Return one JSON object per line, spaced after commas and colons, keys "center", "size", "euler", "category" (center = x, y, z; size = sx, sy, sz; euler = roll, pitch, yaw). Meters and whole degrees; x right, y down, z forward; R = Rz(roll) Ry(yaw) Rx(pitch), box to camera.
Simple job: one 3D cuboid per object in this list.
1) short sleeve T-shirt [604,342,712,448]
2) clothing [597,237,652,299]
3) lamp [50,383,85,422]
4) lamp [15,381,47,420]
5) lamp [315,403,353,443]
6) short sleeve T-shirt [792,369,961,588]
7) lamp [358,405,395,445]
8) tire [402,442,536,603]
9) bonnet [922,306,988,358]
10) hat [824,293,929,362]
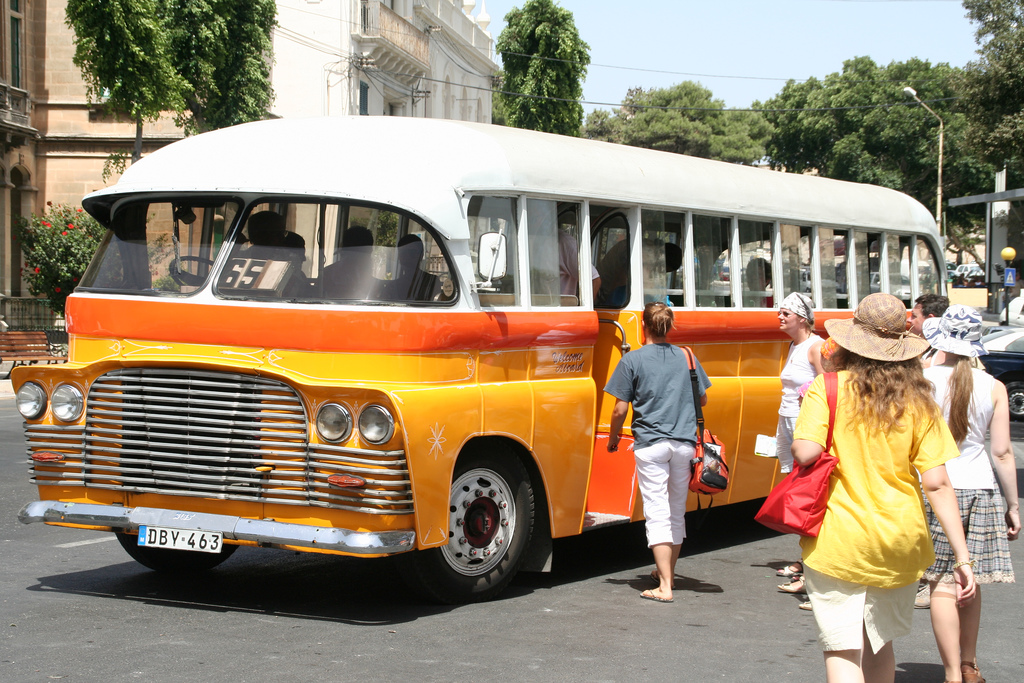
{"center": [1.163, 0.445, 8.403], "size": [0.901, 0.754, 0.348], "euler": [-2, 2, -4], "category": "short sleeve T-shirt"}
{"center": [1.024, -0.658, 9.427], "size": [0.136, 0.557, 0.420], "euler": [5, 14, -41], "category": "clothing"}
{"center": [-3.325, 0.451, 7.758], "size": [0.283, 0.326, 0.145], "euler": [3, 1, 23], "category": "lamp"}
{"center": [-3.645, 0.431, 7.853], "size": [0.297, 0.337, 0.151], "euler": [0, -1, 16], "category": "lamp"}
{"center": [-1.224, 0.559, 7.191], "size": [0.279, 0.322, 0.116], "euler": [1, 1, 17], "category": "lamp"}
{"center": [1.849, 0.691, 5.185], "size": [0.715, 1.081, 0.288], "euler": [2, 2, 15], "category": "short sleeve T-shirt"}
{"center": [-0.929, 0.573, 7.131], "size": [0.239, 0.271, 0.259], "euler": [1, 0, 5], "category": "lamp"}
{"center": [-0.127, 1.395, 8.103], "size": [1.084, 1.093, 0.414], "euler": [0, -9, 39], "category": "tire"}
{"center": [2.814, -0.072, 6.543], "size": [0.363, 0.332, 0.379], "euler": [2, 2, 23], "category": "bonnet"}
{"center": [1.853, -0.137, 5.282], "size": [0.404, 0.179, 0.391], "euler": [-24, 35, -39], "category": "hat"}
